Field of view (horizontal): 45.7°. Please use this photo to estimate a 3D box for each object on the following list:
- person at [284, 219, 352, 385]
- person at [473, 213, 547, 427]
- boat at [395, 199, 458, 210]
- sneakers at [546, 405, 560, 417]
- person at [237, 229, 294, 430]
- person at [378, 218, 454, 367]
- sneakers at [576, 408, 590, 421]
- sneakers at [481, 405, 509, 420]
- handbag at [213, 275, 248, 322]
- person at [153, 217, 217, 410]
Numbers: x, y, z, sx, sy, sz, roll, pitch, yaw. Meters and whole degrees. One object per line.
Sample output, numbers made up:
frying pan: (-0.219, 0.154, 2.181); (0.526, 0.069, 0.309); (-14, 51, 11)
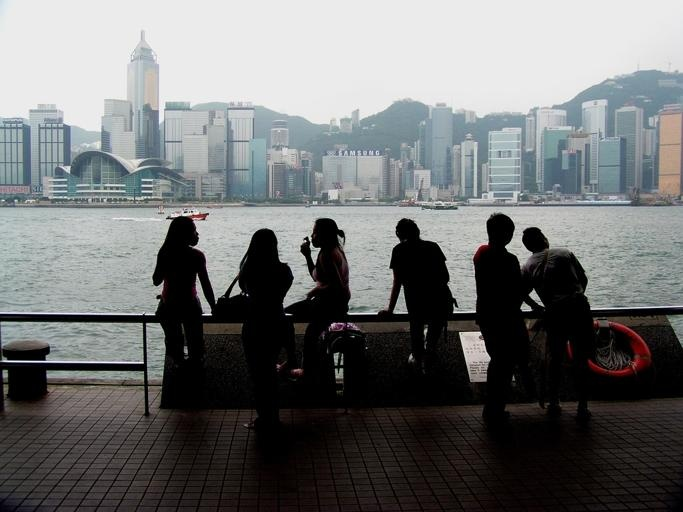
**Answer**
person: (-0.235, 0.435, 8.371); (0.656, 1.676, 0.537); (0, 8, 9)
person: (1.661, 0.613, 8.176); (0.626, 2.057, 0.587); (-3, 8, -8)
boat: (17.200, -10.641, 167.899); (13.595, 2.147, 2.754); (7, 14, 33)
sneakers: (2.190, 1.589, 8.327); (0.128, 0.112, 0.121); (-2, 8, -2)
person: (-0.755, 0.697, 7.863); (0.405, 1.894, 0.393); (5, 10, 39)
person: (0.820, 0.401, 8.418); (0.735, 1.567, 0.281); (-1, 8, 5)
sneakers: (2.449, 1.598, 8.229); (0.144, 0.122, 0.129); (0, -3, -14)
sneakers: (1.556, 1.573, 8.131); (0.229, 0.138, 0.123); (-2, 8, 7)
handbag: (-1.125, 0.437, 8.165); (0.362, 0.464, 0.501); (2, 1, -24)
person: (-1.672, 0.583, 8.412); (0.529, 1.974, 0.373); (-3, 8, -13)
